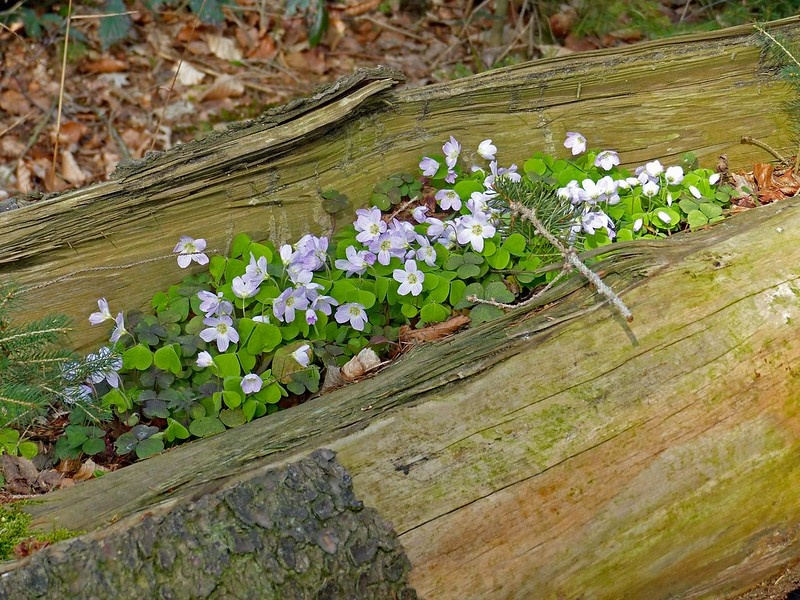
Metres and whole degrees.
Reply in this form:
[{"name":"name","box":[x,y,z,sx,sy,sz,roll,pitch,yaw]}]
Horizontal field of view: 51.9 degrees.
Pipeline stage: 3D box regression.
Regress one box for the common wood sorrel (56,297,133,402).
[{"name":"common wood sorrel","box":[-1.368,0.236,3.704,0.126,0.267,0.425,-7,69,30]}]

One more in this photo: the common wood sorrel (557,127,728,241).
[{"name":"common wood sorrel","box":[1.249,-0.475,4.231,0.688,0.265,0.698,11,31,13]}]
